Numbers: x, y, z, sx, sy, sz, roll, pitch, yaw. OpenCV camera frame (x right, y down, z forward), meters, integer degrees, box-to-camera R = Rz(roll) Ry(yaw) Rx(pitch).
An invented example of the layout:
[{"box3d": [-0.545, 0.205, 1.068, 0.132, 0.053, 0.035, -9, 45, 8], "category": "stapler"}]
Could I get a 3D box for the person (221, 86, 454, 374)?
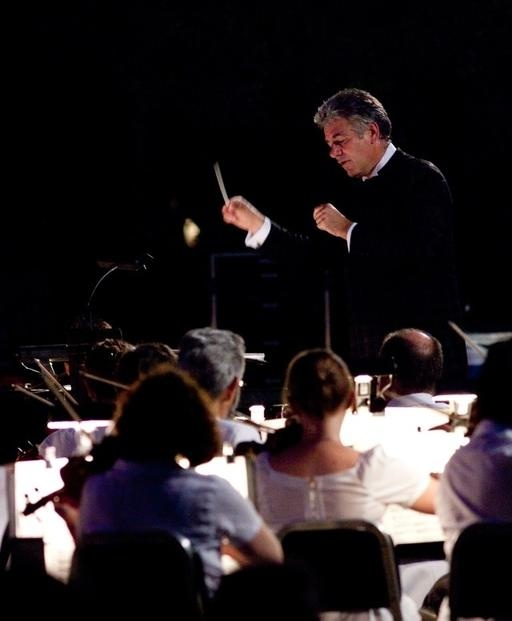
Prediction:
[{"box3d": [0.465, -0.371, 3.130, 0.983, 1.229, 0.411, 2, 4, -11], "category": "person"}]
